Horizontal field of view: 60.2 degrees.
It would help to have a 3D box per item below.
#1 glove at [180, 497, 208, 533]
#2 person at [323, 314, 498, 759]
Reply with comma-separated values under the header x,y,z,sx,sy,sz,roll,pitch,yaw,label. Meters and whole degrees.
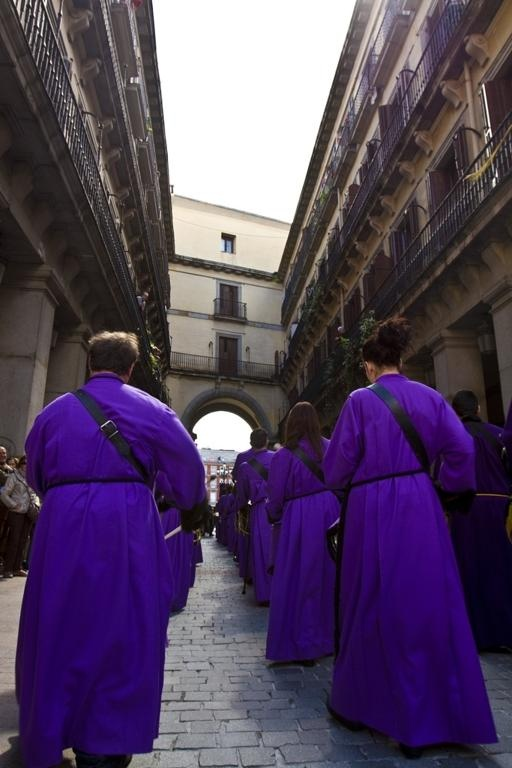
x,y,z,sx,sy,sz,roll,pitch,yaw,label
-0.291,0.633,2.148,0.115,0.183,0.179,5,2,-7,glove
0.682,0.525,2.044,0.729,1.988,0.644,-2,-14,10,person
